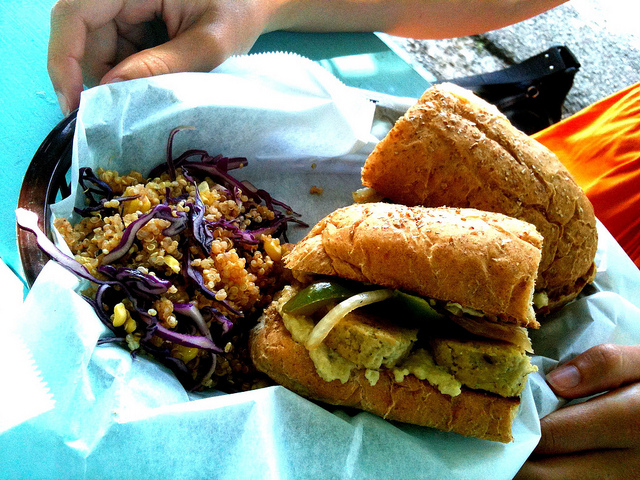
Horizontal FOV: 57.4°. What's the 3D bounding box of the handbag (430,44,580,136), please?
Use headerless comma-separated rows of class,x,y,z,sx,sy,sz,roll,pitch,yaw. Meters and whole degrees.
handbag,0.890,-0.722,2.978,0.413,0.704,0.249,-31,108,-48

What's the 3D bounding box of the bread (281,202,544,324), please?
bread,0.308,0.042,1.781,0.603,0.404,0.182,16,107,13
